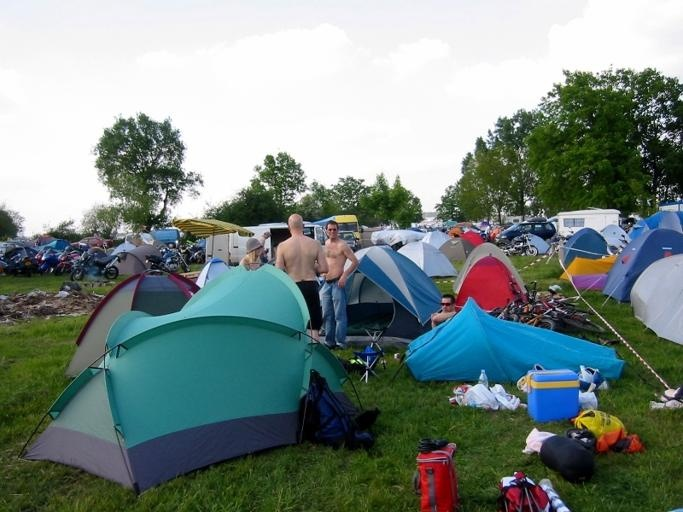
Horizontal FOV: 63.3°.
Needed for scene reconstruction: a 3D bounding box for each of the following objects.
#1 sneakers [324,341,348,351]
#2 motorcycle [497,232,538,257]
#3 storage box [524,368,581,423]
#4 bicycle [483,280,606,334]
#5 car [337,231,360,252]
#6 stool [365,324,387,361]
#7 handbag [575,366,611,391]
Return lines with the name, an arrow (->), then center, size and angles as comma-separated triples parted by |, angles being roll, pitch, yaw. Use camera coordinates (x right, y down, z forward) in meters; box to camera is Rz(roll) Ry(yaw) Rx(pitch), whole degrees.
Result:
sneakers -> -0.100, 1.475, 9.110 | 0.428, 0.189, 0.136 | -1, 5, -4
motorcycle -> 7.292, -0.438, 22.833 | 1.005, 1.151, 1.695 | -7, 4, -12
storage box -> 2.592, 1.703, 6.694 | 0.644, 0.639, 0.384 | -2, -8, 3
bicycle -> 3.638, 1.218, 9.803 | 1.811, 0.993, 1.152 | 4, 14, 26
car -> 0.500, -0.831, 31.356 | 0.860, 0.777, 1.512 | -1, -4, -1
stool -> 0.507, 1.444, 8.612 | 0.305, 0.470, 0.340 | 4, -5, -31
handbag -> 3.270, 1.584, 7.138 | 0.409, 0.246, 0.315 | 5, -9, -11
